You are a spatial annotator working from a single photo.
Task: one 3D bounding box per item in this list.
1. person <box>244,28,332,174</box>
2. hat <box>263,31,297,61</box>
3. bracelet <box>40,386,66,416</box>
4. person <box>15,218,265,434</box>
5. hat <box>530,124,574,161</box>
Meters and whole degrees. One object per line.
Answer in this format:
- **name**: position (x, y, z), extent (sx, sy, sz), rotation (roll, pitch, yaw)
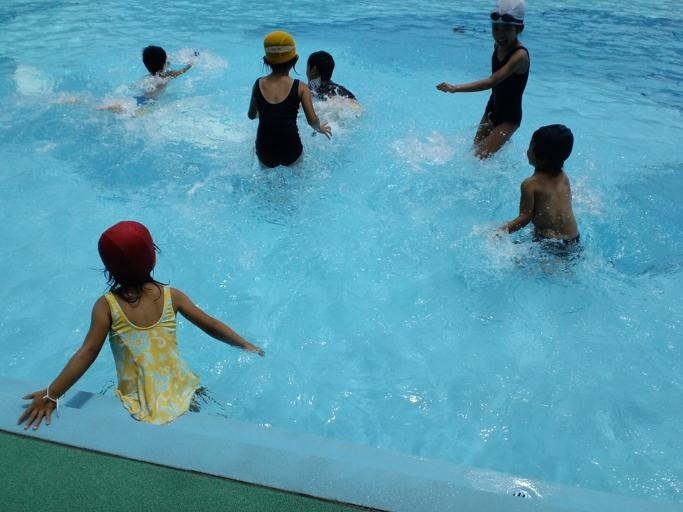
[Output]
- **person**: position (-0.526, -1.489, 6.028), extent (0.791, 1.206, 0.622), rotation (1, 45, -2)
- **hat**: position (-0.570, -1.940, 5.845), extent (0.278, 0.220, 0.283), rotation (10, 76, 5)
- **bracelet**: position (-1.790, 0.889, 3.894), extent (0.078, 0.114, 0.175), rotation (-31, 54, -29)
- **person**: position (-1.470, 0.551, 4.545), extent (1.253, 0.891, 0.401), rotation (-21, 28, -23)
- **hat**: position (1.766, -0.938, 5.283), extent (0.299, 0.289, 0.250), rotation (-13, 47, -16)
